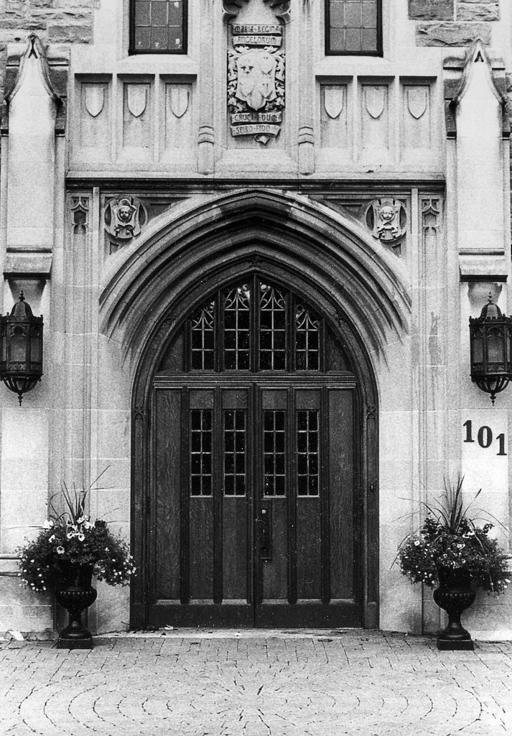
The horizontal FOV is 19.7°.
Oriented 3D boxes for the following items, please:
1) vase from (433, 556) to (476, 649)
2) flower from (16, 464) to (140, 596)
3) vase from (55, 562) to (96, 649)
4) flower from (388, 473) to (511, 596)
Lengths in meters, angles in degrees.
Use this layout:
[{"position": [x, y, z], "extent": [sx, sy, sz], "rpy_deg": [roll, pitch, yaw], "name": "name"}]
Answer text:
[{"position": [1.546, 1.885, 11.534], "extent": [0.321, 0.659, 0.327], "rpy_deg": [1, -3, -9], "name": "vase"}, {"position": [-1.421, 1.339, 11.475], "extent": [0.750, 0.854, 0.570], "rpy_deg": [-10, 30, -17], "name": "flower"}, {"position": [-1.441, 1.852, 11.544], "extent": [0.316, 0.658, 0.546], "rpy_deg": [0, -2, -17], "name": "vase"}, {"position": [1.548, 1.329, 11.682], "extent": [0.881, 0.904, 0.867], "rpy_deg": [-2, -2, 15], "name": "flower"}]
